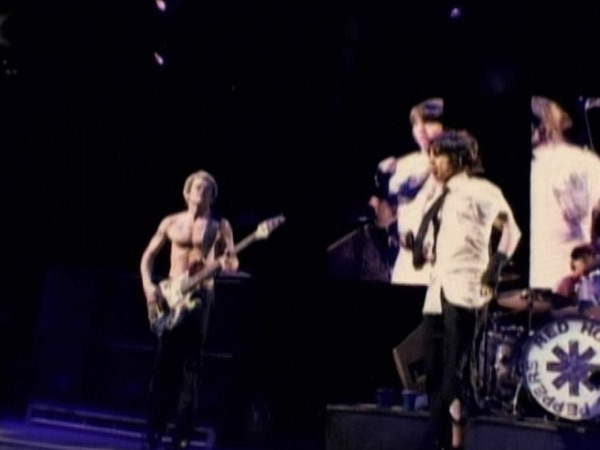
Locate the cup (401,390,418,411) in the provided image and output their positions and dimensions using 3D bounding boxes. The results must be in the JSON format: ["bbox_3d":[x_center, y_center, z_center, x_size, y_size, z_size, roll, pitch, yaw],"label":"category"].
[{"bbox_3d":[0.782,1.274,5.306,0.116,0.154,0.129,-4,-4,36],"label":"cup"}]

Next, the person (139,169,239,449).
[{"bbox_3d":[-0.905,0.626,5.504,0.599,2.037,0.569,17,-18,-31],"label":"person"}]

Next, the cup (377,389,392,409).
[{"bbox_3d":[0.601,1.254,5.289,0.103,0.132,0.111,0,-8,0],"label":"cup"}]
